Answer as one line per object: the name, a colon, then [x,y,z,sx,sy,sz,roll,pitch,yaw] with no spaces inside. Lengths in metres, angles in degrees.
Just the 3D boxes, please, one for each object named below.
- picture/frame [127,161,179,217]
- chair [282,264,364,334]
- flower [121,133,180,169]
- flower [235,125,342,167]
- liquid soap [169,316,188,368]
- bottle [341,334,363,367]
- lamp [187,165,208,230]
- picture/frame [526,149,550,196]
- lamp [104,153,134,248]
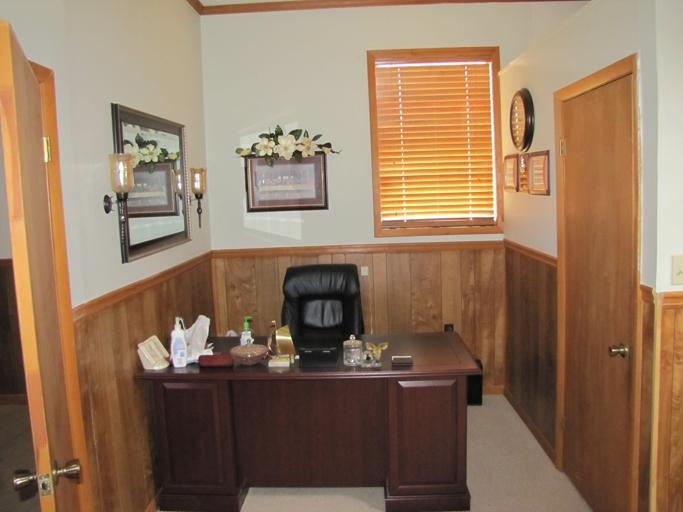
picture/frame: [-1.355,-0.442,3.650,0.557,0.383,0.031,-4,-3,9]
chair: [-0.126,0.328,4.369,0.421,0.648,0.610,-1,4,2]
flower: [-1.279,-0.681,3.618,0.088,0.149,0.224,2,-3,22]
flower: [-0.494,-0.984,4.885,0.896,0.364,0.176,0,0,3]
liquid soap: [-1.045,0.525,3.478,0.109,0.390,0.098,-2,26,-13]
bottle: [0.070,0.605,3.503,0.150,0.231,0.148,1,2,0]
lamp: [-1.166,-0.462,4.436,0.144,0.491,0.129,1,2,2]
picture/frame: [1.320,-0.586,3.832,0.421,0.311,0.027,-4,4,-31]
lamp: [-1.270,-0.255,3.102,0.154,0.627,0.124,0,10,-9]
